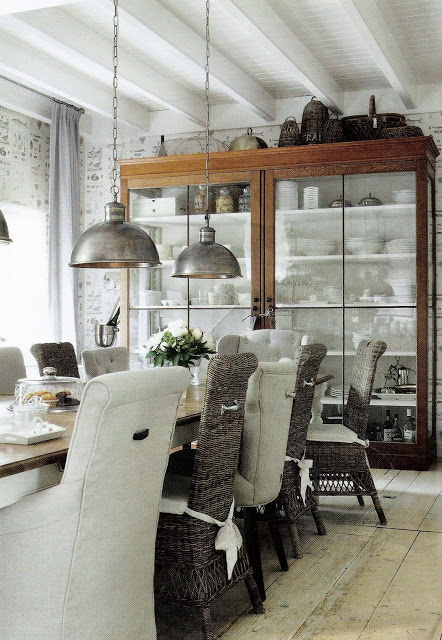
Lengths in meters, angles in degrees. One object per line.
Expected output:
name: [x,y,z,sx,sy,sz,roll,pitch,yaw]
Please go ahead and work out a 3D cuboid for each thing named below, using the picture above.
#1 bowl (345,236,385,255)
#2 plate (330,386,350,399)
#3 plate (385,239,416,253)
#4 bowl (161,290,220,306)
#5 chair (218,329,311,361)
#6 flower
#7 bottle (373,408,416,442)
bowl: [1.143,-0.596,4.119,0.183,0.078,0.179,0,-2,0]
plate: [0.930,0.573,4.121,0.118,0.049,0.113,2,-4,-35]
plate: [1.395,-0.569,4.059,0.149,0.054,0.119,0,1,2]
bowl: [-0.264,-0.192,4.628,0.547,0.151,0.048,-3,-6,20]
chair: [0.281,0.161,3.555,0.365,0.294,0.298,6,-1,20]
flower: [-0.218,0.134,2.765,0.281,0.192,0.285,-2,-2,33]
bottle: [1.345,0.798,4.033,0.287,0.257,0.102,0,-2,19]
